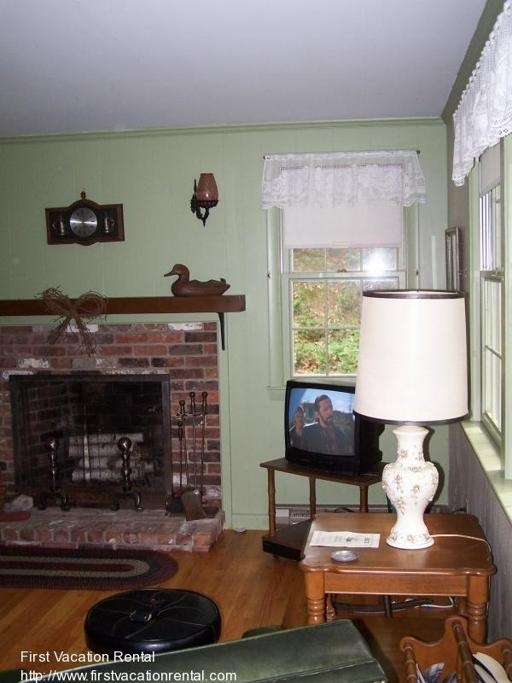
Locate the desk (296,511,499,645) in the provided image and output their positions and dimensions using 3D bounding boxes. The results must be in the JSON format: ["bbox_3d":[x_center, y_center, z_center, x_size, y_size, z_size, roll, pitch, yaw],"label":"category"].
[{"bbox_3d":[0.473,0.671,1.953,0.560,0.483,0.426,0,3,8],"label":"desk"}]

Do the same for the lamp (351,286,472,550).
[{"bbox_3d":[0.473,0.249,1.811,0.330,0.820,0.307,-2,2,-16],"label":"lamp"}]

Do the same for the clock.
[{"bbox_3d":[-1.144,-0.802,3.904,0.559,0.352,0.033,0,7,14],"label":"clock"}]

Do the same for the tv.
[{"bbox_3d":[0.432,0.370,3.462,0.690,0.594,0.466,0,0,39],"label":"tv"}]

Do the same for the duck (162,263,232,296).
[{"bbox_3d":[-0.376,-0.376,3.685,0.358,0.166,0.204,2,0,-1],"label":"duck"}]

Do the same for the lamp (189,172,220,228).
[{"bbox_3d":[-0.330,-0.903,3.755,0.187,0.310,0.212,-1,2,-5],"label":"lamp"}]
